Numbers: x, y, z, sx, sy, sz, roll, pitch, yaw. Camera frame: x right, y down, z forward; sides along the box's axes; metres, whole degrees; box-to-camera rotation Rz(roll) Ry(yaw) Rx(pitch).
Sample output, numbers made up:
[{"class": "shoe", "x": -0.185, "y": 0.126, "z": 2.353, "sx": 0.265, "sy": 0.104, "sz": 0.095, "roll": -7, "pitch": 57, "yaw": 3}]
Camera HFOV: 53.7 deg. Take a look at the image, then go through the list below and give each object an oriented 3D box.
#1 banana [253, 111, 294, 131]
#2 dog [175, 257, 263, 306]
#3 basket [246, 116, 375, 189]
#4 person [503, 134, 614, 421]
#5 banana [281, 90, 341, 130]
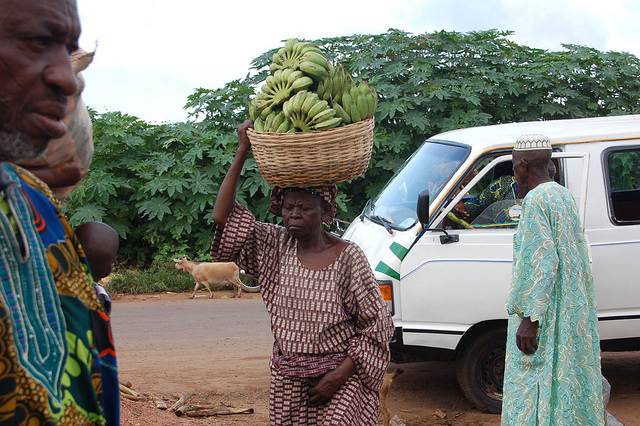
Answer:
[{"class": "banana", "x": -0.274, "y": -0.542, "z": 3.855, "sx": 0.193, "sy": 0.132, "sz": 0.096, "roll": 34, "pitch": 23, "yaw": 19}, {"class": "dog", "x": -1.827, "y": 1.121, "z": 11.159, "sx": 1.600, "sy": 0.739, "sz": 0.337, "roll": -2, "pitch": 1, "yaw": 8}, {"class": "basket", "x": -0.047, "y": -0.372, "z": 3.825, "sx": 0.762, "sy": 0.436, "sz": 0.291, "roll": 1, "pitch": 5, "yaw": -8}, {"class": "person", "x": 1.769, "y": 0.678, "z": 4.702, "sx": 0.705, "sy": 1.790, "sz": 0.521, "roll": 3, "pitch": 5, "yaw": 11}, {"class": "banana", "x": -0.050, "y": -0.593, "z": 3.726, "sx": 0.273, "sy": 0.226, "sz": 0.149, "roll": -18, "pitch": -11, "yaw": -15}]
